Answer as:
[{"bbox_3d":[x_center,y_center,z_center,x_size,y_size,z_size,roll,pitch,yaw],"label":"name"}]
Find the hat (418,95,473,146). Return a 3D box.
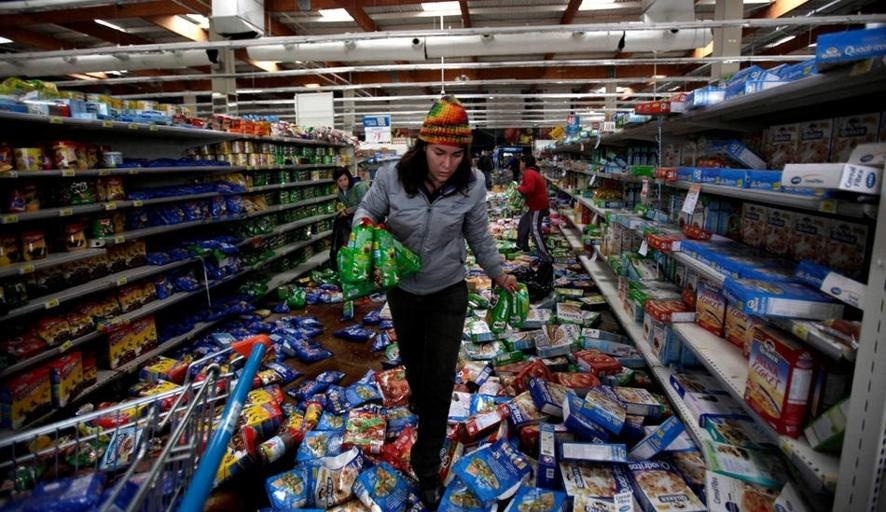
[{"bbox_3d":[0.043,-0.957,3.590,0.386,0.294,0.377,33,22,32],"label":"hat"}]
